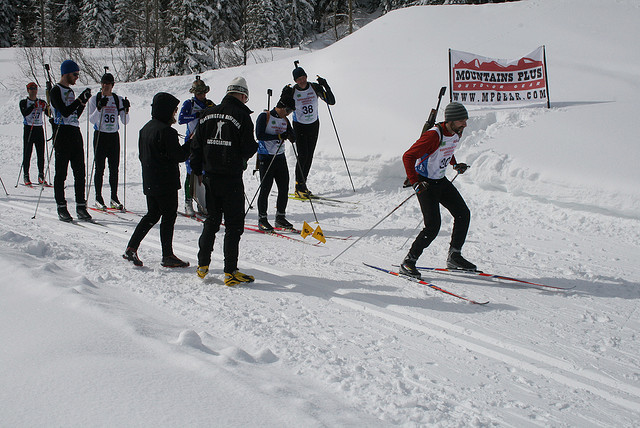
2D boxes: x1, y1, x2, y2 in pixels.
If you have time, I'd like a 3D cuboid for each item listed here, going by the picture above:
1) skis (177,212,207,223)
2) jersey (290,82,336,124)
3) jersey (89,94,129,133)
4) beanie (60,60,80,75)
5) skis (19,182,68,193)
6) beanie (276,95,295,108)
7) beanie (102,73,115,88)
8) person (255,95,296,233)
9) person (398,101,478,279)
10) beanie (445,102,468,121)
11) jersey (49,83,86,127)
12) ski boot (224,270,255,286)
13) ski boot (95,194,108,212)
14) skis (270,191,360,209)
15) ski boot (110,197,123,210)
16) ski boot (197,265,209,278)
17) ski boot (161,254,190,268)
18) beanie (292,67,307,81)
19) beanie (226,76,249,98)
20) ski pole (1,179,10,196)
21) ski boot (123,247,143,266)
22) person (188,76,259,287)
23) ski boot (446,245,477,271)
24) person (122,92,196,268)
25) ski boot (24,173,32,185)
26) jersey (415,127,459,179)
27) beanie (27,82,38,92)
[{"bbox_3d":[-2.333,0.073,10.072,0.579,0.092,0.026,23,25,38],"label":"skis"},{"bbox_3d":[-0.217,-2.379,12.034,0.927,0.851,1.048,1,10,43],"label":"jersey"},{"bbox_3d":[-3.810,-1.894,10.339,0.851,0.824,0.620,3,1,15],"label":"jersey"},{"bbox_3d":[-4.225,-2.479,9.309,0.265,0.207,0.265,13,28,35],"label":"beanie"},{"bbox_3d":[-5.728,-0.539,11.356,0.881,0.094,0.153,10,38,8],"label":"skis"},{"bbox_3d":[-0.589,-1.933,9.522,0.286,0.211,0.278,6,13,0],"label":"beanie"},{"bbox_3d":[-3.750,-2.388,9.775,0.146,0.166,0.194,10,20,-8],"label":"beanie"},{"bbox_3d":[-0.795,-0.874,9.659,0.700,2.352,0.559,2,13,-16],"label":"person"},{"bbox_3d":[1.712,-0.341,7.889,1.178,2.473,0.675,0,14,-25],"label":"person"},{"bbox_3d":[1.897,-1.433,7.759,0.265,0.206,0.259,-20,20,-12],"label":"beanie"},{"bbox_3d":[-4.438,-1.919,9.717,0.605,0.780,0.719,-1,8,-1],"label":"jersey"},{"bbox_3d":[-1.115,0.854,7.472,0.461,0.218,0.162,-5,9,-20],"label":"ski boot"},{"bbox_3d":[-4.151,-0.202,10.425,0.450,0.308,0.152,13,13,41],"label":"ski boot"},{"bbox_3d":[-0.102,-0.273,11.397,1.798,0.283,0.087,7,-32,15],"label":"skis"},{"bbox_3d":[-3.878,-0.210,10.496,0.288,0.202,0.227,4,13,-7],"label":"ski boot"},{"bbox_3d":[-1.594,0.793,7.485,0.122,0.152,0.158,5,-5,-36],"label":"ski boot"},{"bbox_3d":[-2.071,0.679,7.902,0.438,0.194,0.149,-1,3,-26],"label":"ski boot"},{"bbox_3d":[-0.467,-2.925,11.462,0.280,0.210,0.242,-19,8,25],"label":"beanie"},{"bbox_3d":[-1.141,-1.740,7.498,0.289,0.191,0.214,13,14,42],"label":"beanie"},{"bbox_3d":[-6.667,-0.553,11.657,0.083,0.439,0.068,-30,-21,16],"label":"ski pole"},{"bbox_3d":[-2.652,0.612,7.788,0.310,0.187,0.101,29,6,-11],"label":"ski boot"},{"bbox_3d":[-1.261,-0.430,7.439,0.976,2.690,0.614,10,13,17],"label":"person"},{"bbox_3d":[2.108,0.670,8.175,0.497,0.318,0.160,9,-1,-3],"label":"ski boot"},{"bbox_3d":[-2.240,-0.471,7.739,0.896,2.389,0.555,3,13,-13],"label":"person"},{"bbox_3d":[-6.563,-0.781,12.389,0.151,0.253,0.474,-1,14,-27],"label":"ski boot"},{"bbox_3d":[1.683,-0.836,7.879,0.604,0.667,0.228,0,14,-26],"label":"jersey"},{"bbox_3d":[-6.544,-2.892,12.543,0.234,0.080,0.168,-23,36,-14],"label":"beanie"}]
